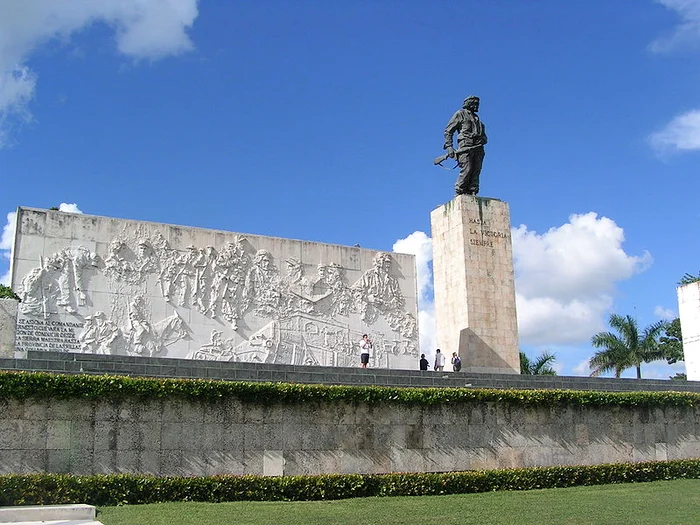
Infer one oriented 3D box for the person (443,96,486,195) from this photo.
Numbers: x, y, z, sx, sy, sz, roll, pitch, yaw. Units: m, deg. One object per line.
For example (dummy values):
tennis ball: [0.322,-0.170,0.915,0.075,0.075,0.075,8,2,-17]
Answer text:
person: [3.588,-3.565,27.096,1.099,2.986,0.868,5,-15,-25]
